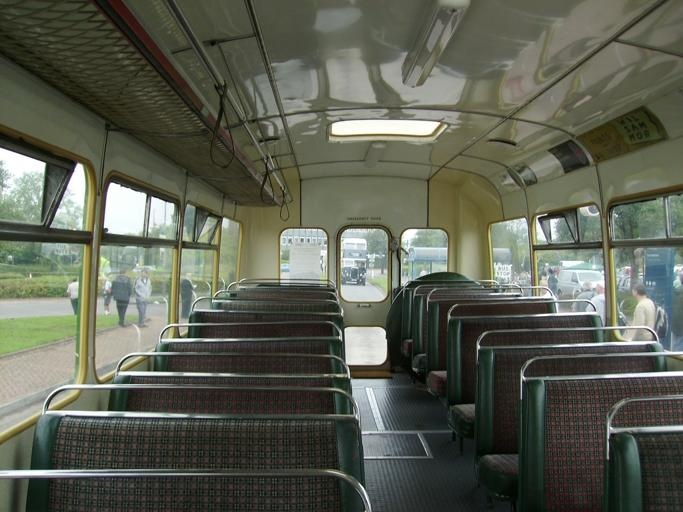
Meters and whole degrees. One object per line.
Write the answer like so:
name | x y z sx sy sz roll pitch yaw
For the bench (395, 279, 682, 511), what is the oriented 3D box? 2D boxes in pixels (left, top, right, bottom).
bench | 1.726 1.217 4.114 1.810 1.677 1.032 1 -3 -8

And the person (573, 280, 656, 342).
person | 3.250 0.663 5.471 0.409 0.497 0.794 -1 1 -4
